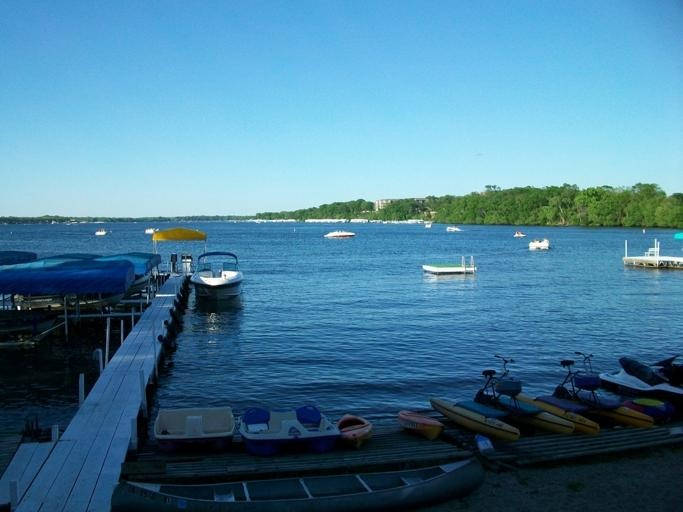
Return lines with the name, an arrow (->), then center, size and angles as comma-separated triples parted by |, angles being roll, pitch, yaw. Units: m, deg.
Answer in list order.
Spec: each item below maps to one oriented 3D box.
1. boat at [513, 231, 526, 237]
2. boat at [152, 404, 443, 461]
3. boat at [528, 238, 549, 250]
boat -> 45.017, -5.657, 153.254 | 2.438, 1.110, 3.319 | 0, 0, 8
boat -> -2.376, 4.937, 17.167 | 5.860, 1.050, 1.322 | -1, 5, -1
boat -> 33.075, -1.826, 101.295 | 3.023, 1.284, 3.893 | 0, 3, 20
